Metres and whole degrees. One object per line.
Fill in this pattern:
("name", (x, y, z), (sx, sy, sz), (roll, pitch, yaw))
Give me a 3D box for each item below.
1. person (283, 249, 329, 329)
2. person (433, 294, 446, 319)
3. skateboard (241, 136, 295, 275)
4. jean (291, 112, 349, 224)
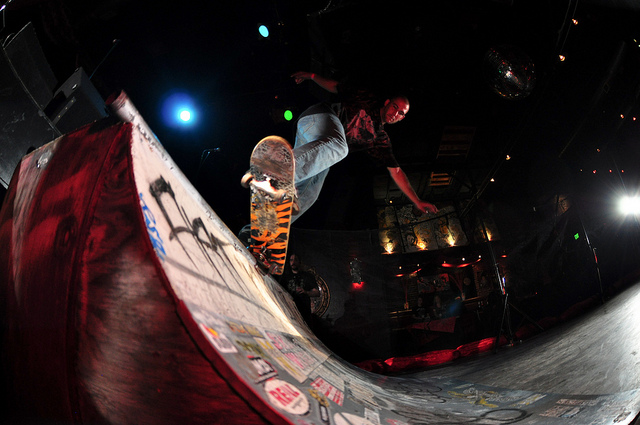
("person", (-0.259, 1.529, 7.642), (0.606, 1.430, 1.477), (-12, 4, 9))
("person", (2.982, 2.347, 9.884), (0.261, 0.383, 1.256), (-11, 4, 20))
("skateboard", (-0.596, -0.108, 4.703), (0.463, 0.293, 2.009), (17, -53, 13))
("jean", (-0.056, -0.753, 5.345), (0.773, 1.556, 0.414), (21, -38, -7))
